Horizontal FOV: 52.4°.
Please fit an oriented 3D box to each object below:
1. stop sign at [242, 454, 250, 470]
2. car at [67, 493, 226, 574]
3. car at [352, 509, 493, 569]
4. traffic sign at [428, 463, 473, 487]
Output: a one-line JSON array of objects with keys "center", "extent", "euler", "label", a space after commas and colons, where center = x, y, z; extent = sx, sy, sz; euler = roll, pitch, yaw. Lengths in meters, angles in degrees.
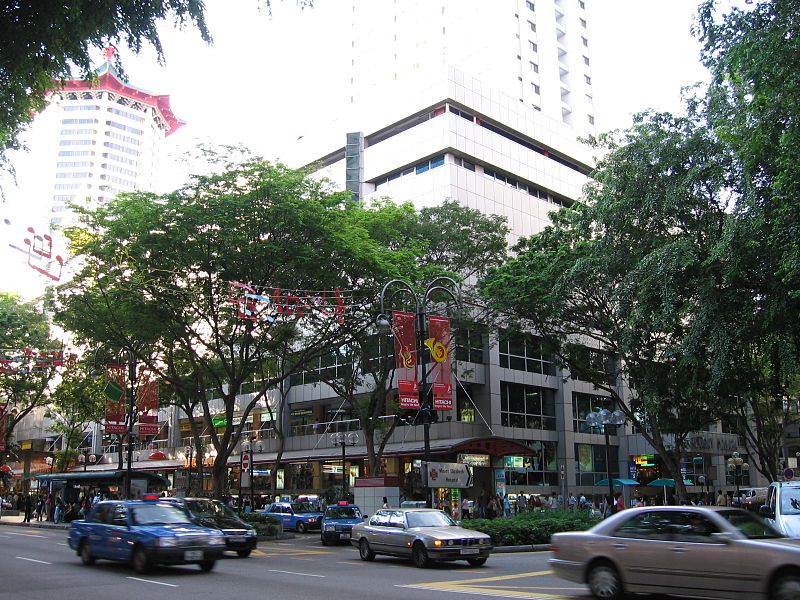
[{"center": [-7.315, 7.673, 38.608], "extent": [0.378, 0.731, 1.129], "euler": [3, -18, -10], "label": "stop sign"}, {"center": [-7.351, 6.786, 23.505], "extent": [4.711, 2.058, 1.728], "euler": [-14, -22, 36], "label": "car"}, {"center": [0.508, 7.518, 25.833], "extent": [1.839, 1.190, 3.816], "euler": [12, -22, -34], "label": "car"}, {"center": [1.853, 6.694, 31.256], "extent": [0.574, 0.976, 2.316], "euler": [-14, -23, 39], "label": "traffic sign"}]
